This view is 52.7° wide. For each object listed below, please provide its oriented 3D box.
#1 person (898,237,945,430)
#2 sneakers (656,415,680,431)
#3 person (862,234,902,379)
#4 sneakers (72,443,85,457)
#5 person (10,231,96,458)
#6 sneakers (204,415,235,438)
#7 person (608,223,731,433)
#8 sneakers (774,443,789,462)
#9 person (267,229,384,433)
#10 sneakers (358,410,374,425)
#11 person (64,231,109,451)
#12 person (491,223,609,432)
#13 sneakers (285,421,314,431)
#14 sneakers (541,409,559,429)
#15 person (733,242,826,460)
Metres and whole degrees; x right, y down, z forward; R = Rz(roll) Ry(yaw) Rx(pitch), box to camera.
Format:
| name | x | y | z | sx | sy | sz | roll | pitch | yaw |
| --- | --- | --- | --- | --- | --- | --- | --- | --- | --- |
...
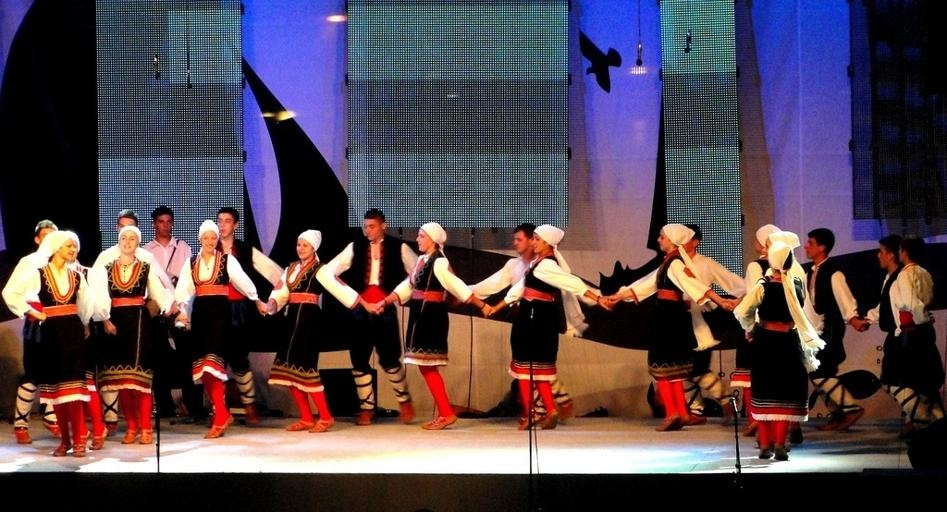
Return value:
| name | x | y | z | sx | sy | sz | roll | pitch | yaw |
| --- | --- | --- | --- | --- | --- | --- | --- | --- | --- |
| person | 4.694 | 0.806 | 10.037 | 0.472 | 2.030 | 0.327 | -2 | 1 | 11 |
| sneakers | 2.096 | 1.805 | 10.180 | 0.263 | 0.101 | 0.123 | -33 | -17 | 34 |
| person | 4.435 | 0.570 | 10.146 | 0.238 | 1.553 | 0.261 | -2 | 1 | 23 |
| sneakers | -3.860 | 1.906 | 9.360 | 0.118 | 0.109 | 0.131 | -2 | 1 | -21 |
| person | -4.153 | 0.867 | 9.436 | 0.709 | 2.251 | 0.327 | -2 | 1 | -4 |
| sneakers | -2.682 | 1.840 | 10.114 | 0.141 | 0.365 | 0.112 | 8 | -41 | 42 |
| person | 2.190 | 0.758 | 10.380 | 1.122 | 1.605 | 0.593 | -2 | 1 | 5 |
| sneakers | 2.953 | 1.914 | 9.183 | 0.123 | 0.171 | 0.180 | 2 | -27 | 6 |
| person | -1.740 | 0.810 | 10.375 | 0.979 | 1.955 | 0.351 | -3 | 1 | -11 |
| sneakers | -1.204 | 1.838 | 10.727 | 0.104 | 0.161 | 0.255 | 1 | -23 | -2 |
| person | -4.011 | 0.875 | 9.892 | 0.444 | 2.179 | 0.404 | -5 | -5 | 9 |
| person | 0.744 | 0.774 | 10.448 | 0.906 | 1.739 | 1.150 | -2 | 1 | 42 |
| sneakers | -1.881 | 1.842 | 10.356 | 0.248 | 0.088 | 0.125 | 4 | -5 | -5 |
| sneakers | 0.837 | 1.790 | 10.457 | 0.231 | 0.191 | 0.167 | -1 | -5 | 26 |
| person | 2.931 | 0.912 | 9.198 | 0.758 | 1.448 | 0.283 | -2 | 1 | 17 |
